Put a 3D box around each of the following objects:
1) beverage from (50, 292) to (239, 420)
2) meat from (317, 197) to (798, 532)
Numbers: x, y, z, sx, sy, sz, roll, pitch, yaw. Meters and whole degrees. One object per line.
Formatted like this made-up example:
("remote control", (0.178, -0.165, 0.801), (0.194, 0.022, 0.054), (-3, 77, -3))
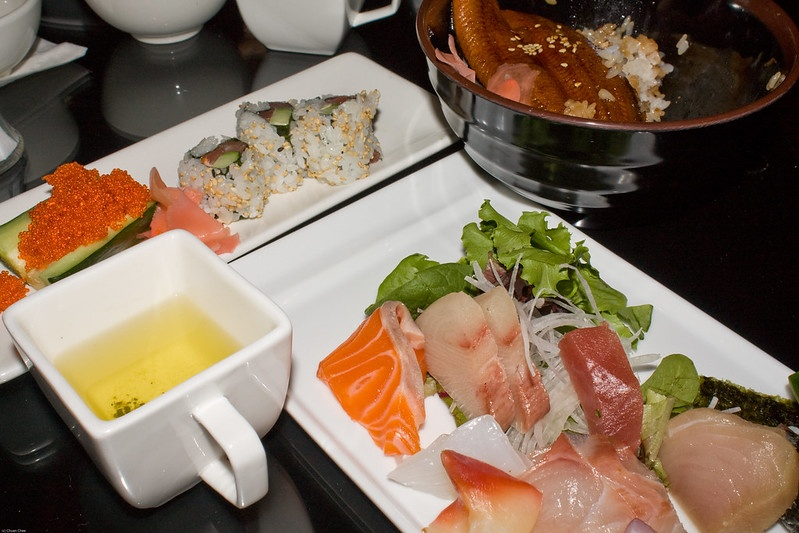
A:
("beverage", (-0.524, 0.197, 1.262), (0.288, 0.103, 0.229), (-34, 60, -19))
("meat", (0.315, 0.264, 1.355), (0.901, 0.189, 0.734), (39, 66, 24))
